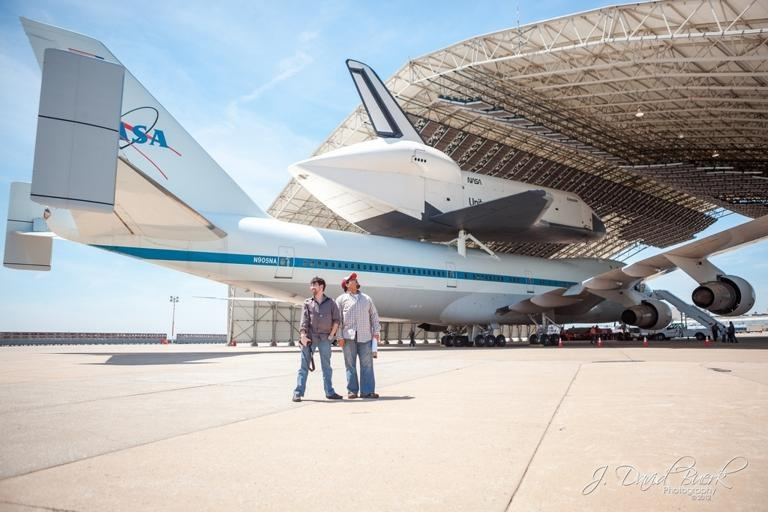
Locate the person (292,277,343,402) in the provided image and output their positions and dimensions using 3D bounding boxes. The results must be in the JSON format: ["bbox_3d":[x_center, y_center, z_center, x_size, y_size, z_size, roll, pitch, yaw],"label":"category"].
[{"bbox_3d":[-0.895,1.082,6.537,0.618,1.649,0.914,0,-10,-7],"label":"person"}]

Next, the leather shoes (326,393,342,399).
[{"bbox_3d":[-0.651,1.855,6.379,0.230,0.078,0.075,3,-9,-6],"label":"leather shoes"}]
